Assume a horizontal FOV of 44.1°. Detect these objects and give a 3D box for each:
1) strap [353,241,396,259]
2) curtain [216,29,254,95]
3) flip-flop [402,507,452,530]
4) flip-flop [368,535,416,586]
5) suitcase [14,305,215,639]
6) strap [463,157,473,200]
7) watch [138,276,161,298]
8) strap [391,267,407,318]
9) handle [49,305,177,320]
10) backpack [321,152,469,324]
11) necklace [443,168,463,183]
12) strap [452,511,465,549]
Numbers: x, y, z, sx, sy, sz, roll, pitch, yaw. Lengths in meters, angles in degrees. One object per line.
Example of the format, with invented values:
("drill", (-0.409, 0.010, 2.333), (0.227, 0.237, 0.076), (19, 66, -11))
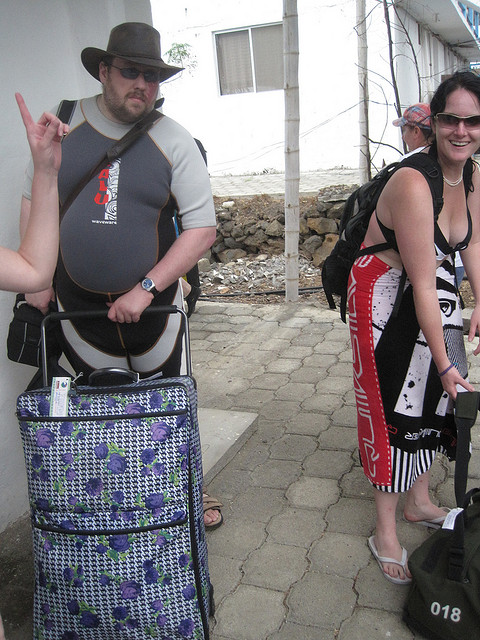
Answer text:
("strap", (0.494, -0.255, 2.142), (0.098, 0.021, 0.089), (-9, 5, 32))
("curtain", (-0.113, -5.732, 13.121), (0.737, 1.251, 0.262), (-3, 15, 3))
("flip-flop", (0.807, 0.859, 2.623), (0.270, 0.062, 0.091), (2, 23, 20))
("flip-flop", (0.605, 0.951, 2.371), (0.108, 0.098, 0.244), (-6, 14, -7))
("suitcase", (-0.335, 0.474, 1.946), (0.618, 0.827, 0.493), (-4, 11, 0))
("strap", (0.835, -0.530, 2.172), (0.033, 0.121, 0.081), (6, 16, 32))
("watch", (-0.324, -0.117, 2.152), (0.050, 0.081, 0.077), (-44, -3, -12))
("strap", (0.564, -0.093, 2.097), (0.055, 0.174, 0.028), (-1, 16, 11))
("handle", (-0.441, -0.027, 2.105), (0.385, 0.039, 0.040), (1, -34, -28))
("backpack", (0.500, -0.315, 2.306), (0.554, 0.668, 0.494), (-7, 27, -16))
("necklace", (0.729, -0.500, 2.037), (0.063, 0.014, 0.063), (-21, 4, -30))
("strap", (0.715, 0.686, 1.933), (0.032, 0.151, 0.102), (2, 16, 23))
